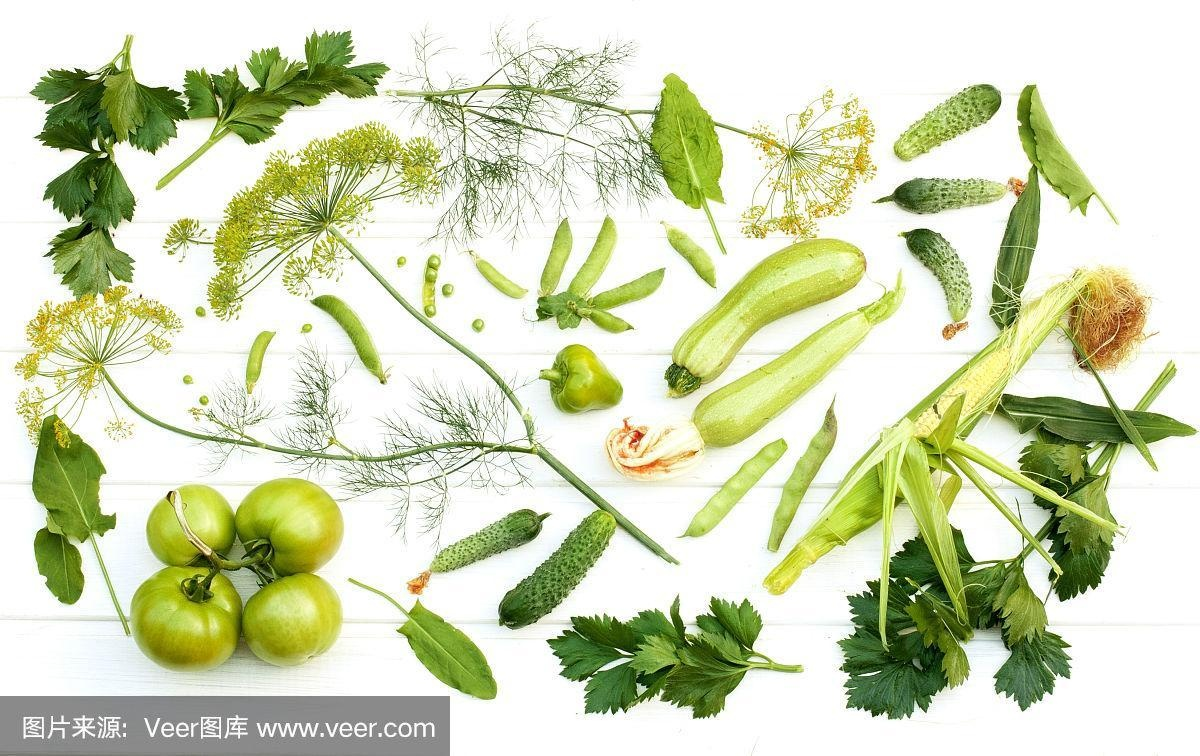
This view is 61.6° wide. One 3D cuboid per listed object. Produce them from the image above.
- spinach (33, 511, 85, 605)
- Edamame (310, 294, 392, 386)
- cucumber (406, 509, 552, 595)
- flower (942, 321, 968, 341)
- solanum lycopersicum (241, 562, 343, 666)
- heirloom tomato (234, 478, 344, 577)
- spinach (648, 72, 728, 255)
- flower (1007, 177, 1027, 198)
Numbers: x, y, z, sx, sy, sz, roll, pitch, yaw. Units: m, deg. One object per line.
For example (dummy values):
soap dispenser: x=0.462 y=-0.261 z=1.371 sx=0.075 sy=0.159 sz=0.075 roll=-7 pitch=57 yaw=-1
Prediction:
spinach: x=-2.670 y=0.902 z=4.965 sx=0.206 sy=0.452 sz=0.073 roll=-20 pitch=-5 yaw=-27
Edamame: x=-1.226 y=-0.231 z=5.050 sx=0.208 sy=0.568 sz=0.104 roll=-33 pitch=-9 yaw=21
cucumber: x=-0.587 y=0.824 z=4.861 sx=0.746 sy=0.195 sz=0.206 roll=-24 pitch=10 yaw=-3
flower: x=1.749 y=-0.228 z=5.001 sx=0.124 sy=0.075 sz=0.062 roll=-31 pitch=17 yaw=-20
solanum lycopersicum: x=-1.390 y=1.086 z=4.759 sx=0.435 sy=0.400 sz=0.421 roll=-17 pitch=-13 yaw=19
heirloom tomato: x=-1.405 y=0.695 z=4.773 sx=0.479 sy=0.467 sz=0.450 roll=0 pitch=-16 yaw=6
spinach: x=0.440 y=-1.141 z=5.029 sx=0.290 sy=1.001 sz=0.046 roll=-20 pitch=11 yaw=6
flower: x=2.086 y=-0.955 z=5.066 sx=0.088 sy=0.094 sz=0.035 roll=-1 pitch=-4 yaw=4
